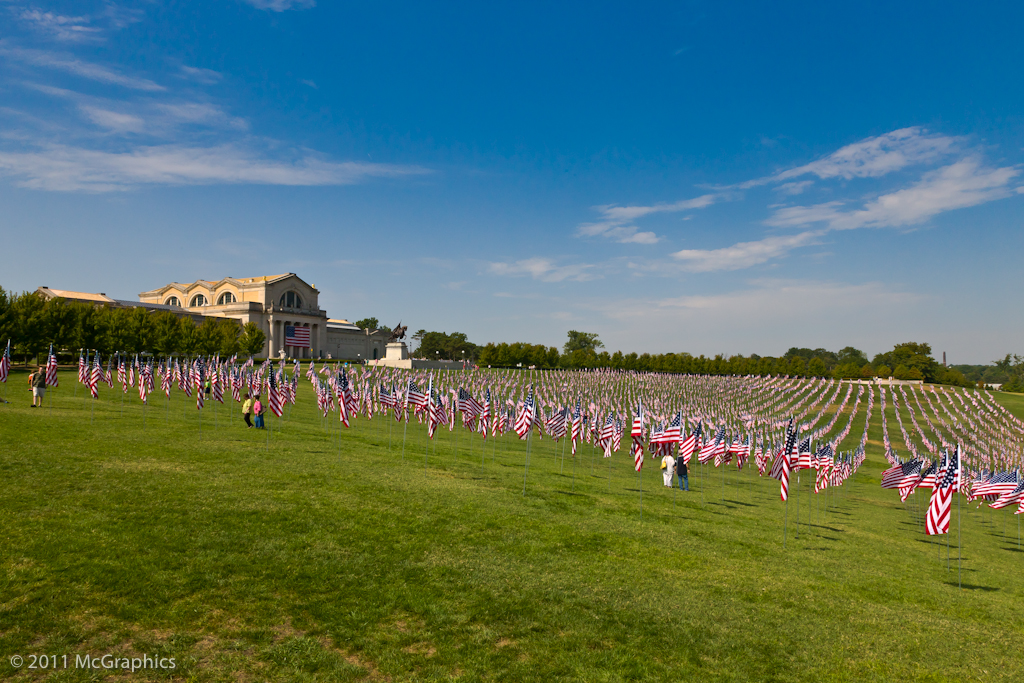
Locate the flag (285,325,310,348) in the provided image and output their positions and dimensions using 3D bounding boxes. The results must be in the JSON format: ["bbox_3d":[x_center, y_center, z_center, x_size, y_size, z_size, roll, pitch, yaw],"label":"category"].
[{"bbox_3d":[-44.981,-1.066,175.353,0.344,3.259,4.807,-13,-11,32],"label":"flag"}]
